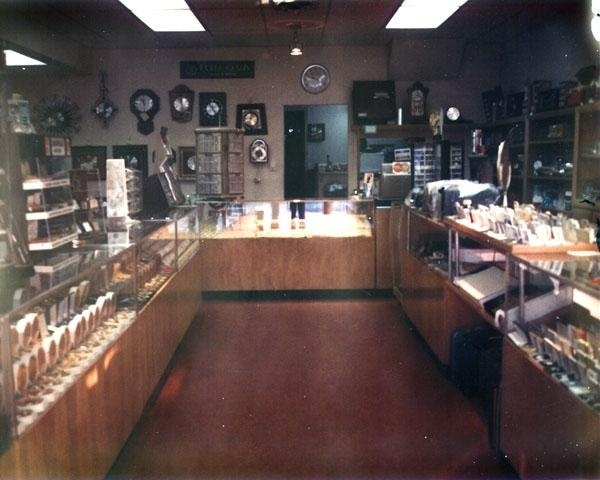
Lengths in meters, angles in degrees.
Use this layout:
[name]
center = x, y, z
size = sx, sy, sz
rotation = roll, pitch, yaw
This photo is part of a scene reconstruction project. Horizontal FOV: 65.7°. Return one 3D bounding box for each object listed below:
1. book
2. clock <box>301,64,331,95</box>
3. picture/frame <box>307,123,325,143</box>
[book]
center = 1.205, 0.294, 3.059
size = 0.226, 0.072, 0.231
rotation = -23, 25, -11
[clock]
center = 0.226, -2.274, 6.632
size = 0.456, 0.406, 0.145
rotation = -8, 12, -34
[picture/frame]
center = 0.294, -2.080, 9.102
size = 0.213, 0.515, 0.480
rotation = 0, 7, 27
